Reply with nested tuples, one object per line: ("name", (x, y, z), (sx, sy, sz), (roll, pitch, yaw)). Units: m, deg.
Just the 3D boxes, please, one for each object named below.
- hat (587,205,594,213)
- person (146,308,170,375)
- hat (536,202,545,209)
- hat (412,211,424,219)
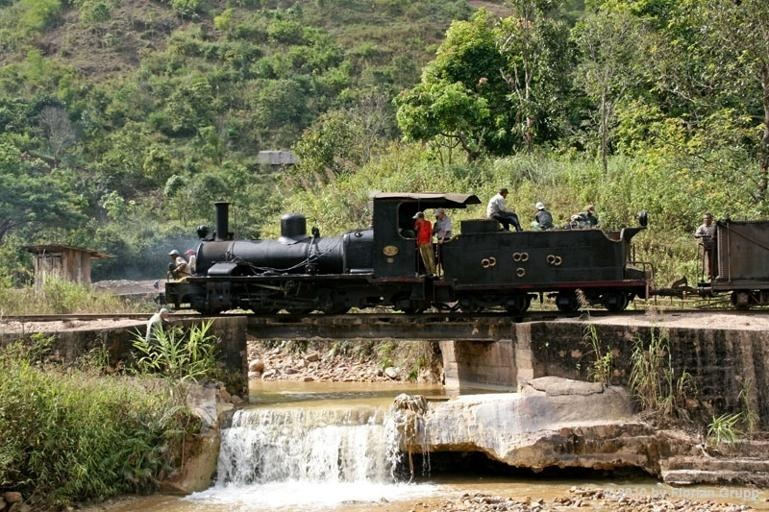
("hat", (7.434, -1.720, 38.915), (0.233, 0.343, 0.321), (5, -9, 4))
("person", (-7.632, 2.847, 36.326), (1.015, 2.075, 0.624), (6, -8, -42))
("hat", (5.693, -1.845, 39.300), (0.342, 0.298, 0.537), (-3, 4, -8))
("hat", (1.189, -1.492, 38.545), (0.324, 0.188, 0.210), (-5, -2, 21))
